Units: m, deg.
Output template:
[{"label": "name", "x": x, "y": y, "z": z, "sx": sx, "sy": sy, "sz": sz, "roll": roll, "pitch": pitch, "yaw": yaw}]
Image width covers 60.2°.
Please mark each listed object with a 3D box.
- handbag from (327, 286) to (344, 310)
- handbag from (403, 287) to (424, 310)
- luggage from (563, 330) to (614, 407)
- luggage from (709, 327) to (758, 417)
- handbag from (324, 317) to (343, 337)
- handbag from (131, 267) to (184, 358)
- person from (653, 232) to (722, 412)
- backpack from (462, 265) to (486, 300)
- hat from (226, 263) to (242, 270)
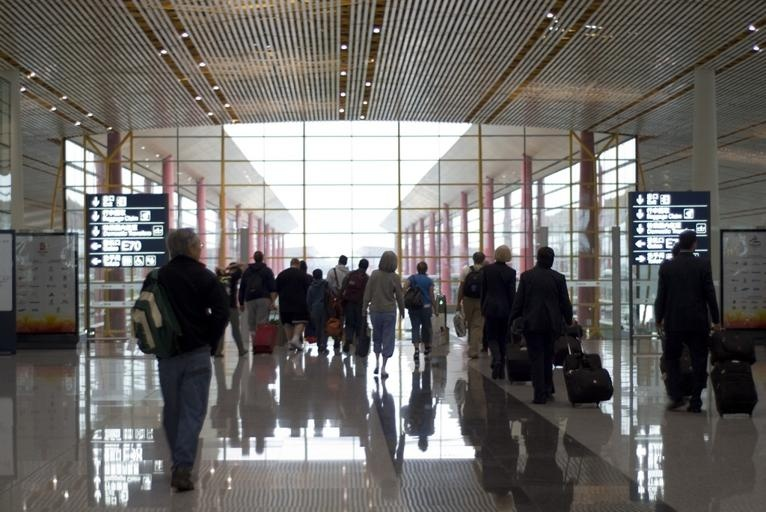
[{"label": "handbag", "x": -1.097, "y": 0.990, "z": 15.005, "sx": 0.200, "sy": 0.435, "sz": 0.360, "roll": 2, "pitch": -3, "yaw": -32}, {"label": "handbag", "x": 0.643, "y": 0.895, "z": 13.830, "sx": 0.457, "sy": 0.406, "sz": 0.240, "roll": -7, "pitch": -15, "yaw": 39}, {"label": "luggage", "x": 3.099, "y": 1.713, "z": 10.323, "sx": 0.769, "sy": 1.020, "sz": 0.627, "roll": 4, "pitch": -19, "yaw": -26}, {"label": "luggage", "x": 5.096, "y": 1.710, "z": 9.636, "sx": 0.584, "sy": 1.215, "sz": 0.408, "roll": 0, "pitch": 5, "yaw": 14}, {"label": "handbag", "x": -1.121, "y": 1.610, "z": 15.027, "sx": 0.516, "sy": 0.516, "sz": 0.307, "roll": 3, "pitch": 8, "yaw": 27}, {"label": "handbag", "x": -2.570, "y": 0.680, "z": 7.519, "sx": 0.509, "sy": 1.022, "sz": 0.321, "roll": -3, "pitch": 5, "yaw": -19}, {"label": "person", "x": 4.557, "y": 0.991, "z": 9.947, "sx": 0.863, "sy": 2.715, "sz": 0.632, "roll": 1, "pitch": 5, "yaw": 20}, {"label": "backpack", "x": 1.854, "y": 0.567, "z": 13.481, "sx": 0.664, "sy": 0.842, "sz": 0.479, "roll": 3, "pitch": -19, "yaw": 6}, {"label": "hat", "x": -3.836, "y": 0.253, "z": 17.002, "sx": 0.351, "sy": 0.145, "sz": 0.345, "roll": 0, "pitch": -3, "yaw": -5}]
